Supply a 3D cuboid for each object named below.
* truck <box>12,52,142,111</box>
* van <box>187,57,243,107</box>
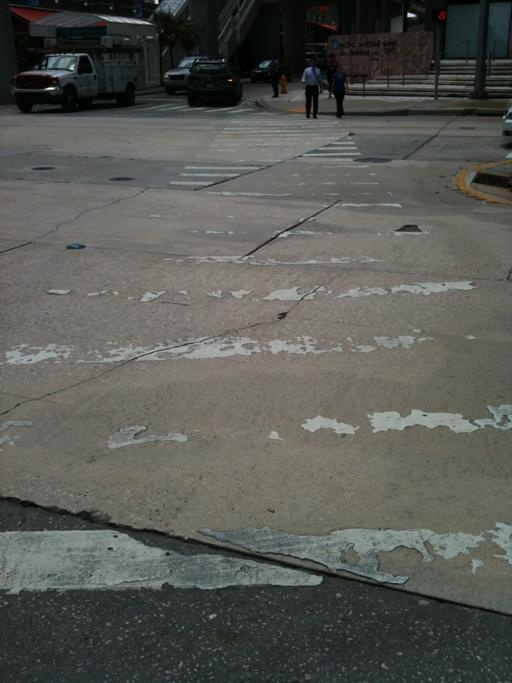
[{"bbox_3d":[-8.378,-11.777,29.298,3.187,2.373,6.226,13,31,18],"label":"truck"},{"bbox_3d":[-1.965,-12.333,30.125,2.437,2.036,2.236,-1,21,-4],"label":"van"}]
